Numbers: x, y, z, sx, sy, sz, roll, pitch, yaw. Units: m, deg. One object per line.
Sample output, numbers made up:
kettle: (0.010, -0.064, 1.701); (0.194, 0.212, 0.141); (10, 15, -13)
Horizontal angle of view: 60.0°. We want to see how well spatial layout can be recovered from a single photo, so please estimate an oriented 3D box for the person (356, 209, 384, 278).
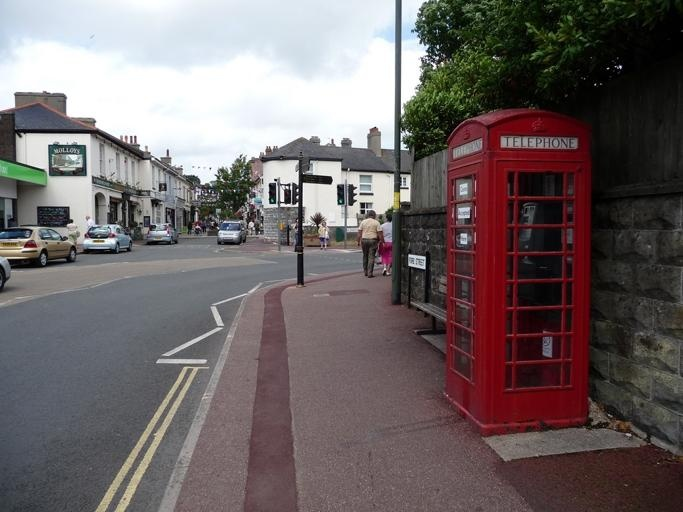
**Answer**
person: (0.814, -0.369, 16.664); (0.630, 1.900, 0.606); (-4, 5, -8)
